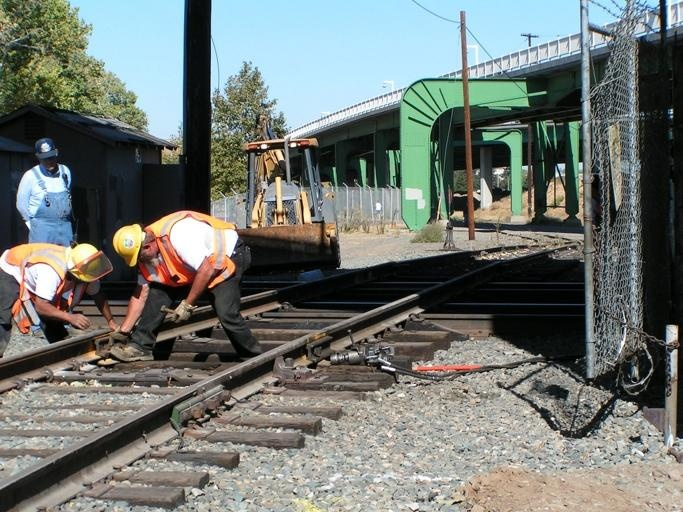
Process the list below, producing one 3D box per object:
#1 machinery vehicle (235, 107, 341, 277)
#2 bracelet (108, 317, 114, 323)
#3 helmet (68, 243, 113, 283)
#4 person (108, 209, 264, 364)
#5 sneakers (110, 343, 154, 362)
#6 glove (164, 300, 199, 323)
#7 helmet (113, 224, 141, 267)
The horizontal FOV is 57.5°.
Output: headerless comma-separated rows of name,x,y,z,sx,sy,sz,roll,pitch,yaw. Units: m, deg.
machinery vehicle,-1.190,-1.490,13.447,1.893,3.222,3.604,2,7,-9
bracelet,-2.286,0.620,6.117,0.054,0.045,0.148,-2,-4,-8
helmet,-2.358,0.078,5.790,0.373,0.380,0.309,0,8,-25
person,-1.354,0.207,6.074,1.601,1.436,1.087,4,0,-27
sneakers,-1.994,0.918,5.958,0.432,0.205,0.171,8,-3,-12
glove,-1.476,0.462,5.637,0.208,0.114,0.314,40,8,-48
helmet,-1.825,-0.092,5.372,0.245,0.359,0.163,-4,-7,29
